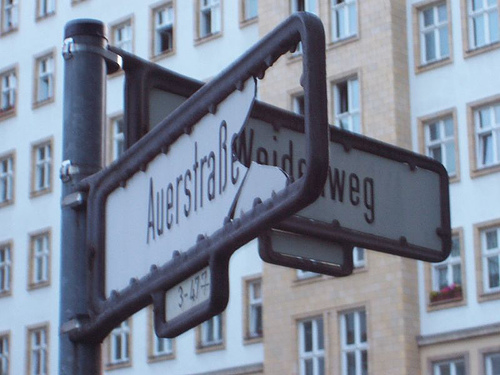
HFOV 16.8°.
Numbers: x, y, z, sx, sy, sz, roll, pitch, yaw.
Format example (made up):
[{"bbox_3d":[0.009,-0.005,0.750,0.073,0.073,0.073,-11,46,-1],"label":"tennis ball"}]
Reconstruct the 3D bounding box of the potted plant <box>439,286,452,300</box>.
[{"bbox_3d":[5.399,2.910,45.843,0.283,0.398,0.318,-10,-17,41],"label":"potted plant"}]

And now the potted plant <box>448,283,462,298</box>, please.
[{"bbox_3d":[5.690,2.835,45.776,0.279,0.324,0.302,2,-16,-2],"label":"potted plant"}]

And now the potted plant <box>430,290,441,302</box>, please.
[{"bbox_3d":[5.163,2.971,45.891,0.189,0.281,0.259,2,-8,-7],"label":"potted plant"}]
